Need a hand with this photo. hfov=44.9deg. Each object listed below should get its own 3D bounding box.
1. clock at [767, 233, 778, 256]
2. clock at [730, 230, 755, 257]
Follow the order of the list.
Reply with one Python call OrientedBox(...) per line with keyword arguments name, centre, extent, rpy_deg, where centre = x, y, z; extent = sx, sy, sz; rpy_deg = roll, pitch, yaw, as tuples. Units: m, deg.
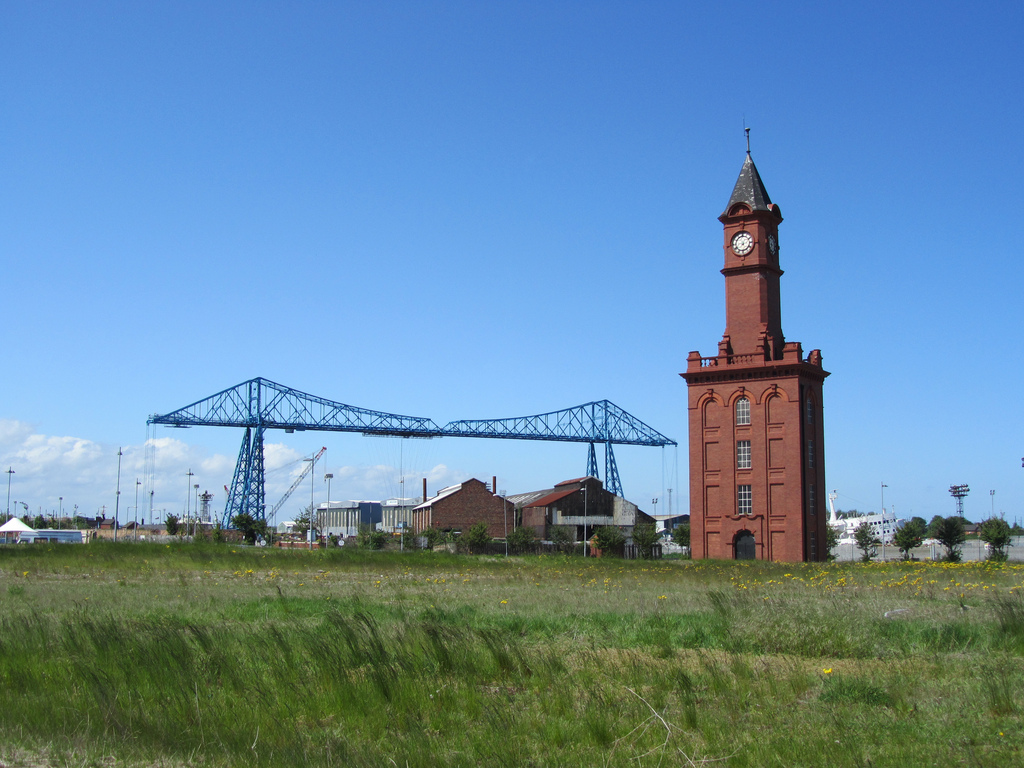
OrientedBox(name="clock", centre=(16.174, -8.660, 77.040), extent=(0.135, 1.418, 2.007), rpy_deg=(-1, -5, 26))
OrientedBox(name="clock", centre=(14.415, -8.626, 76.664), extent=(1.315, 1.523, 1.442), rpy_deg=(-10, -23, -17))
